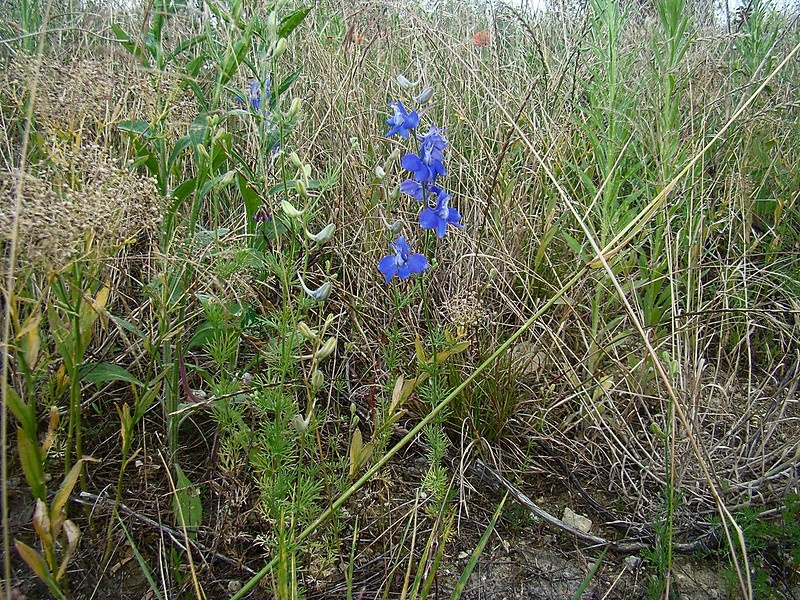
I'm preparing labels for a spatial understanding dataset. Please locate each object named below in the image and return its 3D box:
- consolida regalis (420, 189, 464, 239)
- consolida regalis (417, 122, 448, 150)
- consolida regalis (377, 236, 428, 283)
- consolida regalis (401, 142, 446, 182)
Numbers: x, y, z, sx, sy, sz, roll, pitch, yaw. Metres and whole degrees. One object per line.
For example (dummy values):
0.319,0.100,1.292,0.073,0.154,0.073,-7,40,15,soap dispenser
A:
0.139,-0.306,2.172,0.140,0.169,0.078,34,-1,-30,consolida regalis
0.115,-0.570,2.160,0.087,0.103,0.059,-7,-17,-43,consolida regalis
-0.008,-0.173,2.141,0.202,0.111,0.222,-19,-6,-8,consolida regalis
0.082,-0.476,2.126,0.127,0.132,0.068,-18,12,-19,consolida regalis
